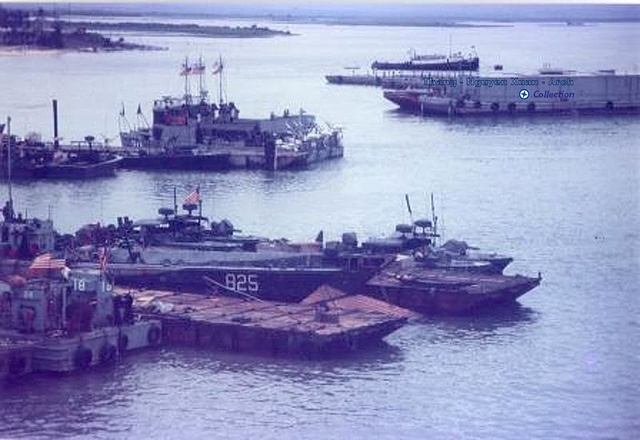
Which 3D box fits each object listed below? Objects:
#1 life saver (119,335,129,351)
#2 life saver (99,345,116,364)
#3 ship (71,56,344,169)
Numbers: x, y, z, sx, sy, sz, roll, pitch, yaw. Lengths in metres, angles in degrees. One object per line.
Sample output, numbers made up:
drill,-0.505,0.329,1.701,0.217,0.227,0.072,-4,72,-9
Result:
life saver,-15.523,9.589,123.730,0.736,1.385,0.758,10,20,14
life saver,-16.625,10.431,123.228,1.302,1.461,0.253,-3,5,-29
ship,-9.486,-11.186,164.799,18.255,11.907,18.944,1,4,30
